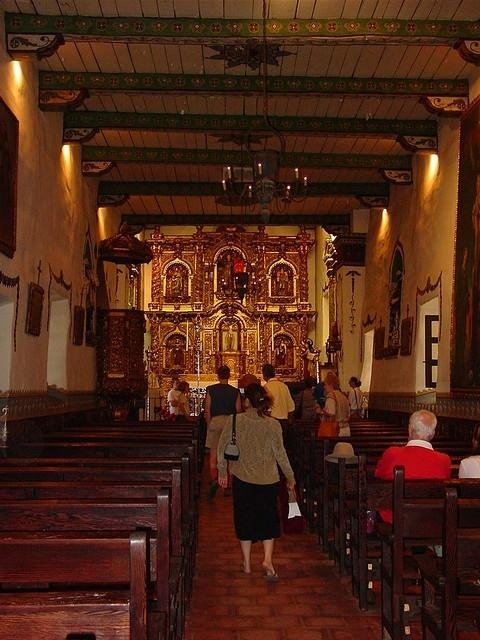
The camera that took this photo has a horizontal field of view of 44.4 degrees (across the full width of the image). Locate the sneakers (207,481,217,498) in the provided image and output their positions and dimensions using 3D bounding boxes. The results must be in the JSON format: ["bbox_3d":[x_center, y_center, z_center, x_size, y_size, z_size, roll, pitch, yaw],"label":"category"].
[{"bbox_3d":[-0.407,2.404,8.368,0.107,0.327,0.126,3,-1,22],"label":"sneakers"}]

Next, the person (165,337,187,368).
[{"bbox_3d":[-2.383,1.159,21.574,0.772,1.268,0.389,-2,-7,-1],"label":"person"}]

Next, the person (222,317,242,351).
[{"bbox_3d":[-0.347,0.555,21.680,0.779,1.242,0.292,-1,-7,-2],"label":"person"}]

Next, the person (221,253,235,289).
[{"bbox_3d":[-0.461,-1.799,22.006,0.545,1.354,0.221,-7,-9,36],"label":"person"}]

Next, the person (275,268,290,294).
[{"bbox_3d":[1.612,-1.453,22.179,0.565,1.152,0.195,-1,-7,-2],"label":"person"}]

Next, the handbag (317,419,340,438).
[{"bbox_3d":[1.197,1.455,7.846,0.222,0.240,0.234,-2,-11,-1],"label":"handbag"}]

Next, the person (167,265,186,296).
[{"bbox_3d":[-2.354,-1.439,22.068,0.856,1.376,0.294,-1,-7,-7],"label":"person"}]

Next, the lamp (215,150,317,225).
[{"bbox_3d":[0.308,-1.586,7.344,0.998,0.948,1.063,0,0,14],"label":"lamp"}]

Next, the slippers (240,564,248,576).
[{"bbox_3d":[0.034,2.087,4.902,0.044,0.058,0.145,1,-26,-2],"label":"slippers"}]
